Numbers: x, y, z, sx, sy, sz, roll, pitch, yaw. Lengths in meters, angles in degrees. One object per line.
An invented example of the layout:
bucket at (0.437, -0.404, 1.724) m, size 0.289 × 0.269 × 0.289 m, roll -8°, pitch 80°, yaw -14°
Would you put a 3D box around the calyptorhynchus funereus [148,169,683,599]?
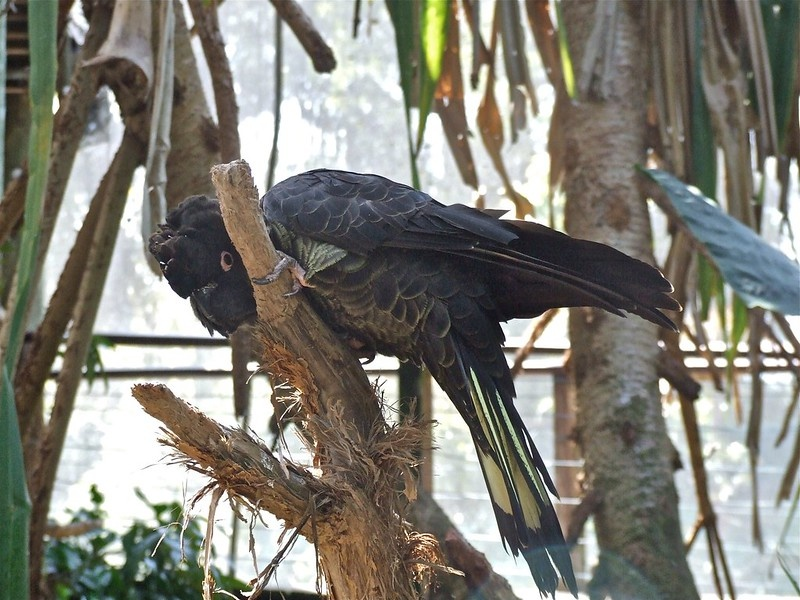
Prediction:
calyptorhynchus funereus at (0.062, 0.239, 5.043) m, size 1.687 × 1.293 × 0.596 m, roll 14°, pitch -23°, yaw 15°
